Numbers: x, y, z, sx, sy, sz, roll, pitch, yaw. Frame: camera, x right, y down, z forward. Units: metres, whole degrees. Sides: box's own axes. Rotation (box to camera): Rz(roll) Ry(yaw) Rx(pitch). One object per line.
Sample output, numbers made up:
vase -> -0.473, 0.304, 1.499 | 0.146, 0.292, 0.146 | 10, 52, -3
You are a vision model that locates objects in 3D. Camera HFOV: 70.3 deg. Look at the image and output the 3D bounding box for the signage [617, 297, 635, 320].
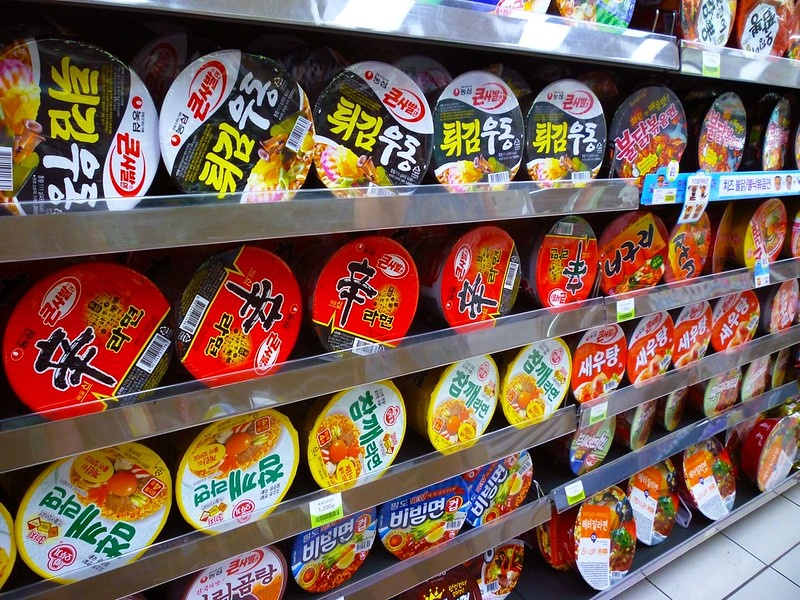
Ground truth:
signage -> 0.710, 0.026, 1.801 | 0.058, 0.057, 0.019 | -6, 6, -33
